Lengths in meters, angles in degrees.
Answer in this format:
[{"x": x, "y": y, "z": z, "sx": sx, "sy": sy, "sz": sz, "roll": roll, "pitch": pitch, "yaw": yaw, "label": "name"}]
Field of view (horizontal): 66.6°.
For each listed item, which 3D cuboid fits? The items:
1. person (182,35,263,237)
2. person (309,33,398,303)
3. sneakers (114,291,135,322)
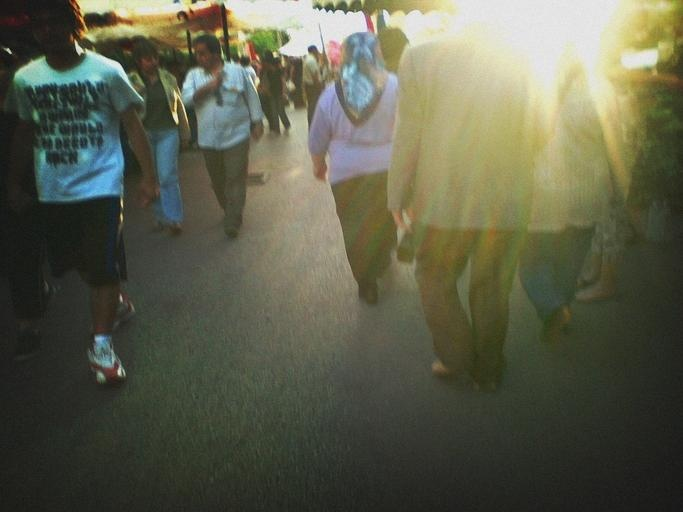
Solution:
[{"x": -1.277, "y": -1.423, "z": 5.946, "sx": 0.828, "sy": 2.047, "sz": 0.791, "roll": -17, "pitch": 28, "yaw": -22, "label": "person"}, {"x": 0.108, "y": -0.618, "z": 3.988, "sx": 0.680, "sy": 1.942, "sz": 0.538, "roll": -2, "pitch": 25, "yaw": 6, "label": "person"}, {"x": -1.755, "y": 0.437, "z": 4.268, "sx": 0.269, "sy": 0.202, "sz": 0.091, "roll": -21, "pitch": -21, "yaw": 33, "label": "sneakers"}]
